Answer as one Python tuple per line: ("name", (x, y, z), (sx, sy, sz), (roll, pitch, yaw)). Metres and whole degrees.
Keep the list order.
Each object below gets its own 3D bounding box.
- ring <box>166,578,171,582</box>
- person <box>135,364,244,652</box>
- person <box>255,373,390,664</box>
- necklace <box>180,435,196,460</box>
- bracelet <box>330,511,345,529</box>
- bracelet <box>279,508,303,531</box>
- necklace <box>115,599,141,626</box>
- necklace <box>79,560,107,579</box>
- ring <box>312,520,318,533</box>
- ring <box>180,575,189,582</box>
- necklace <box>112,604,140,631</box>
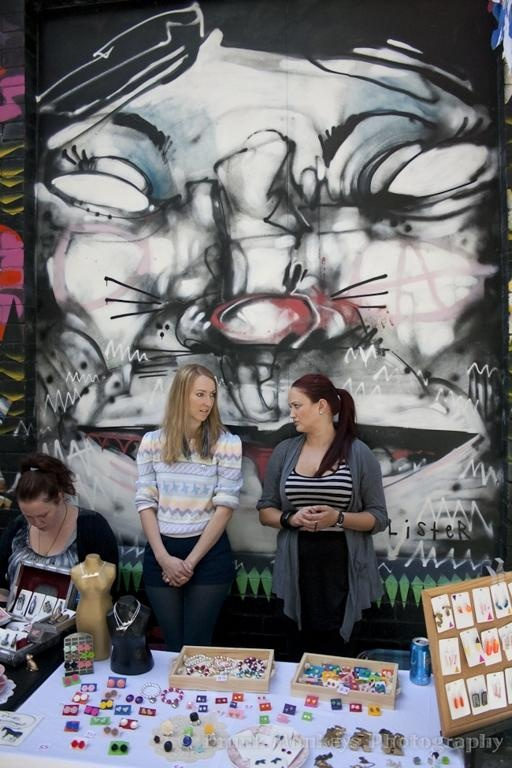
("ring", (-0.370, 0.836, 2.933), (0.019, 0.018, 0.006), (5, 5, 27))
("person", (-0.302, 0.540, 3.030), (0.464, 1.179, 0.472), (-2, 14, 1))
("person", (0.277, 0.546, 2.862), (0.505, 1.124, 0.461), (-4, 14, -7))
("necklace", (-0.302, 0.284, 3.056), (0.063, 0.084, 0.023), (3, -2, -29))
("bracelet", (0.326, 0.536, 2.693), (0.066, 0.046, 0.072), (12, 21, 9))
("bracelet", (0.136, 0.558, 2.825), (0.087, 0.079, 0.031), (48, -24, -28))
("necklace", (-0.398, 0.715, 2.151), (0.086, 0.075, 0.079), (-1, -20, 0))
("necklace", (-0.537, 0.603, 2.266), (0.076, 0.055, 0.054), (-6, 14, -18))
("ring", (0.233, 0.558, 2.680), (0.015, 0.038, 0.028), (6, 12, 7))
("ring", (-0.301, 0.823, 2.912), (0.030, 0.030, 0.011), (-33, 31, -18))
("necklace", (-0.402, 0.740, 2.148), (0.068, 0.088, 0.025), (5, 3, -1))
